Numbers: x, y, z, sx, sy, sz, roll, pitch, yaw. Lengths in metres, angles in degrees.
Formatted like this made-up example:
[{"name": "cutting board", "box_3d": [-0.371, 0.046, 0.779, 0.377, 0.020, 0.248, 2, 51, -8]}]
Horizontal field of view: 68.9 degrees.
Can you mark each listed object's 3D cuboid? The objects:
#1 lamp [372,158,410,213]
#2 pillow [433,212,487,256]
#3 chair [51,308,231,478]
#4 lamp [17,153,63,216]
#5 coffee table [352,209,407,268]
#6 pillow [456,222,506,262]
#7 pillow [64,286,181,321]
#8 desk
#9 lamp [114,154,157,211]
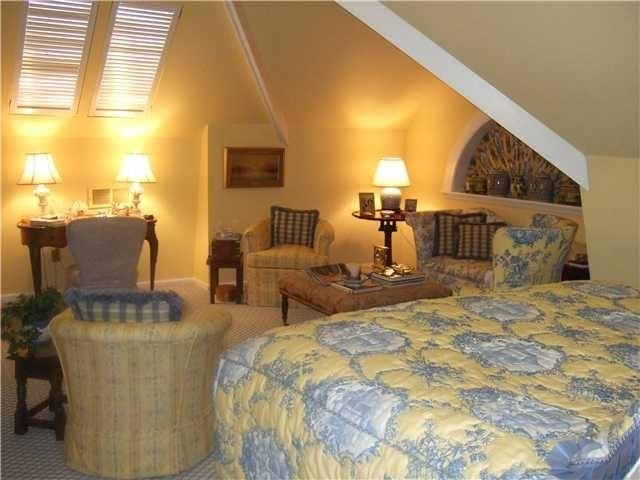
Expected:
[{"name": "lamp", "box_3d": [0.807, -0.692, 5.852, 0.693, 0.699, 0.627, 0, 2, 3]}, {"name": "pillow", "box_3d": [1.380, -0.076, 4.885, 0.532, 0.454, 0.181, -1, -6, 18]}, {"name": "chair", "box_3d": [-0.911, 0.745, 2.709, 1.036, 0.794, 0.884, 2, 7, 6]}, {"name": "lamp", "box_3d": [-2.924, -0.592, 4.886, 0.365, 0.645, 0.415, -11, 14, -26]}, {"name": "coffee table", "box_3d": [0.592, -0.030, 5.637, 0.749, 0.664, 0.683, -1, 5, -2]}, {"name": "pillow", "box_3d": [1.590, -0.001, 4.717, 0.476, 0.367, 0.109, 2, -14, 21]}, {"name": "pillow", "box_3d": [-0.965, 0.324, 2.335, 0.531, 0.219, 0.175, -3, 12, 4]}, {"name": "desk", "box_3d": [-2.191, 0.126, 4.255, 0.977, 0.723, 0.399, -2, 5, -36]}, {"name": "lamp", "box_3d": [-2.094, -0.667, 5.334, 0.398, 0.661, 0.436, -9, 13, -18]}]
